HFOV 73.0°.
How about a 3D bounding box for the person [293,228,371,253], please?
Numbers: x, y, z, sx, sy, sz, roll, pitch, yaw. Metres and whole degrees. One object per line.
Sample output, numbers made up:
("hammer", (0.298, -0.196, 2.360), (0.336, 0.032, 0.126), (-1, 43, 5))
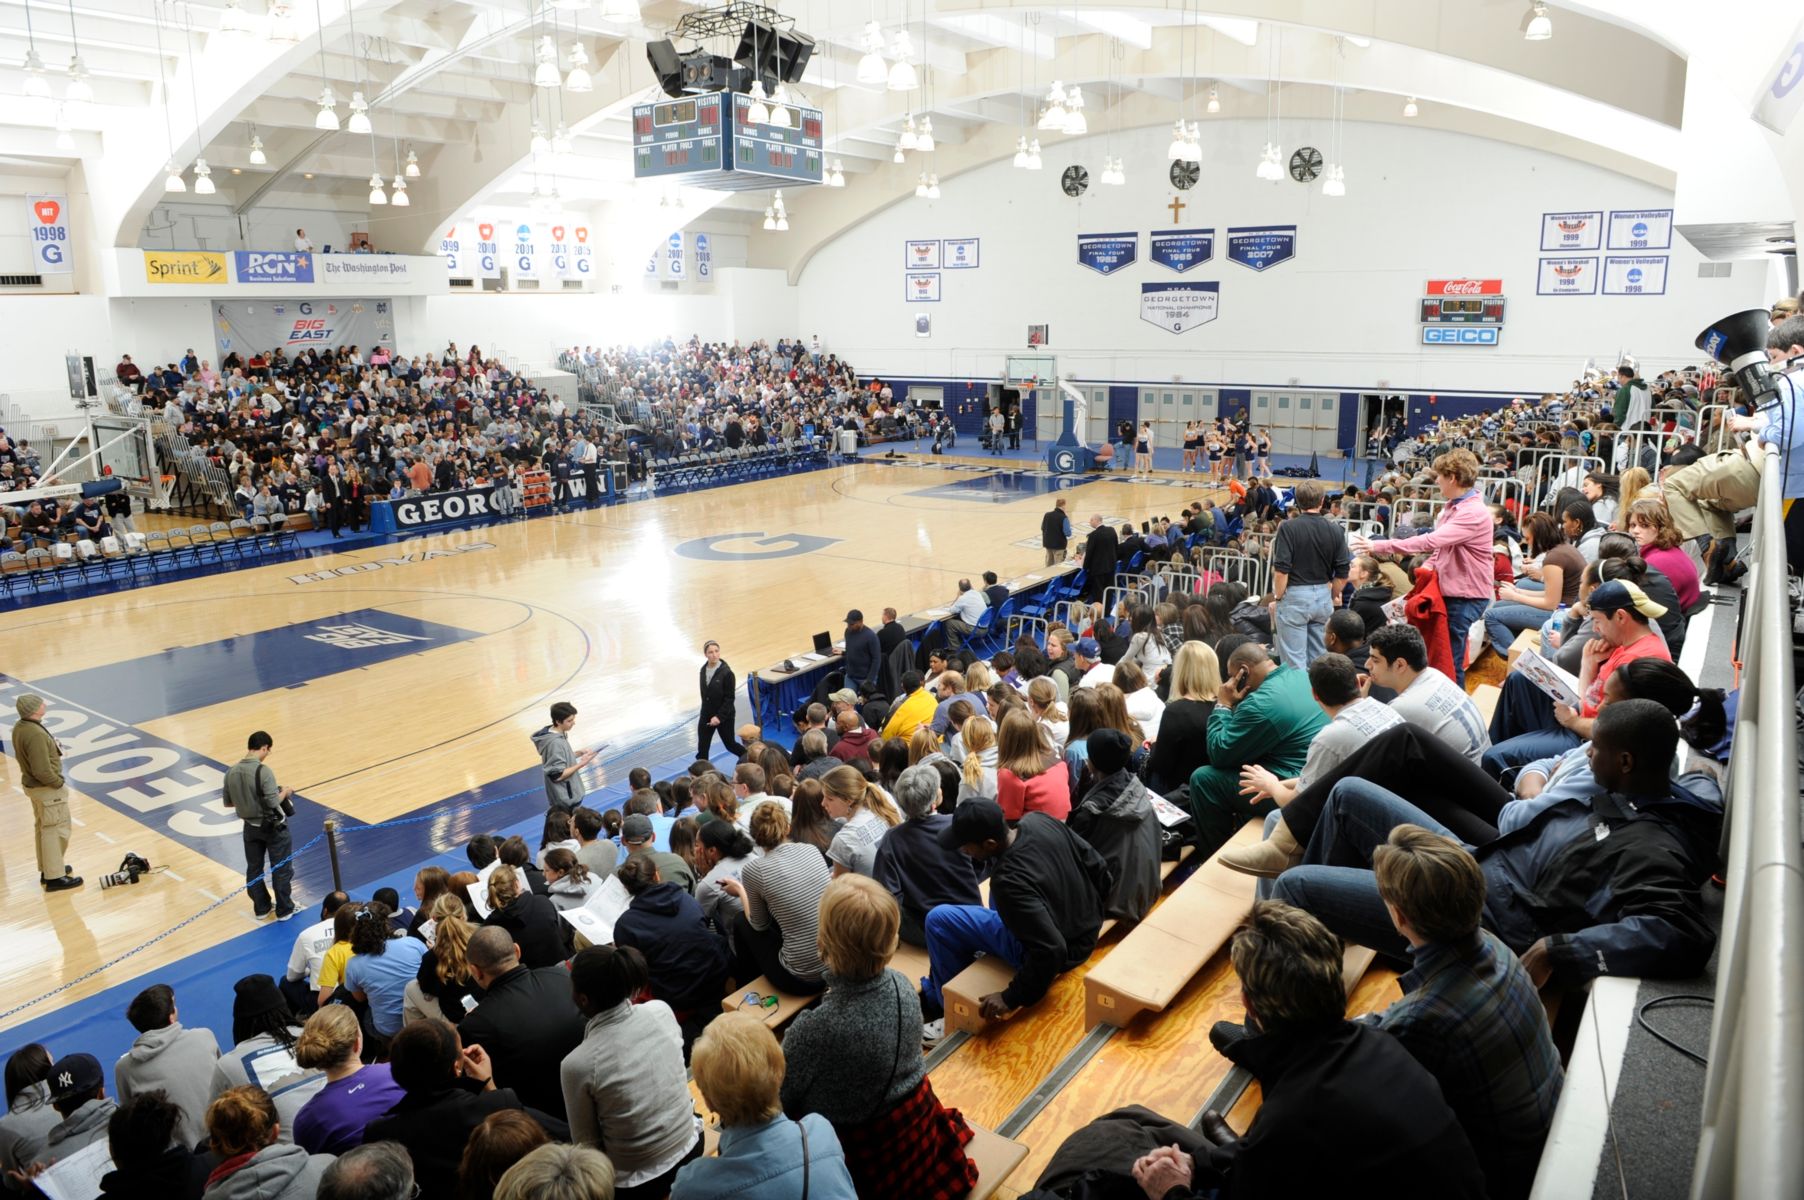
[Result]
("person", (-16.268, -10.189, 34.910), (1.765, 0.653, 1.070), (-9, 25, -28))

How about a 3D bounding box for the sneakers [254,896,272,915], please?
("sneakers", (-6.195, 2.980, 11.802), (0.160, 0.174, 0.149), (-6, 9, -28))

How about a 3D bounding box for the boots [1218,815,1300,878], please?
("boots", (2.163, 1.537, 7.486), (0.518, 0.390, 0.229), (0, 6, 21))

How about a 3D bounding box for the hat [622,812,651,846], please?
("hat", (-1.941, 1.678, 8.919), (0.168, 0.230, 0.225), (6, 26, 1))

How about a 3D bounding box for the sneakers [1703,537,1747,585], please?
("sneakers", (6.391, -0.284, 9.489), (0.244, 0.607, 0.203), (0, -18, 32))

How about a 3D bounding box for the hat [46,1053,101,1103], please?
("hat", (-5.294, 3.090, 7.805), (0.266, 0.302, 0.281), (-9, 11, -42))

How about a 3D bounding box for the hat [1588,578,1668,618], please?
("hat", (4.557, 0.001, 7.670), (0.382, 0.167, 0.250), (24, 29, 34))

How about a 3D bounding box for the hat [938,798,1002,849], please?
("hat", (0.401, 1.340, 7.221), (0.231, 0.201, 0.318), (-26, 31, -30))

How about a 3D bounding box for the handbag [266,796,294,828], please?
("handbag", (-5.973, 2.072, 11.711), (0.214, 0.309, 0.219), (-8, 10, -36))

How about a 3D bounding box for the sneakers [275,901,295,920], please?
("sneakers", (-5.959, 3.039, 11.771), (0.089, 0.128, 0.120), (-4, -13, -13))

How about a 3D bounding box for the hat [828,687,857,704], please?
("hat", (-0.611, 1.005, 12.455), (0.263, 0.127, 0.365), (2, 2, -7))

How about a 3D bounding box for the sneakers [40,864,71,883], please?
("sneakers", (-8.435, 2.753, 12.141), (0.222, 0.108, 0.339), (-7, 9, -35))

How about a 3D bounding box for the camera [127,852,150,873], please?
("camera", (-7.758, 2.697, 12.367), (0.216, 0.165, 0.263), (-7, 10, -34))
